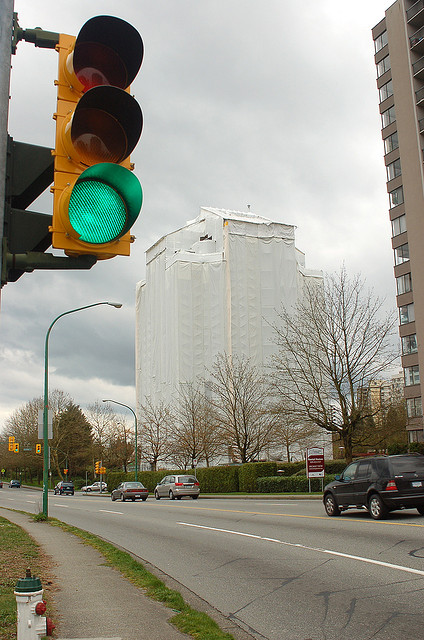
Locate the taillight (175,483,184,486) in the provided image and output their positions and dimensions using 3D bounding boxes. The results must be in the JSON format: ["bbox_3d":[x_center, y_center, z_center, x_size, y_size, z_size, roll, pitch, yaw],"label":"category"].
[{"bbox_3d":[-1.945,9.848,38.639,0.579,0.150,0.120,-8,-13,27],"label":"taillight"}]

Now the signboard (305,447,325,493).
[{"bbox_3d":[4.692,6.741,29.278,0.804,2.054,0.266,-2,4,2],"label":"signboard"}]

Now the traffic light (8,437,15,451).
[{"bbox_3d":[-18.251,11.324,59.118,0.401,1.078,1.603,2,-12,-15],"label":"traffic light"}]

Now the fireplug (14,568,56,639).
[{"bbox_3d":[-1.170,1.860,4.245,0.226,0.465,0.313,1,-12,-14],"label":"fireplug"}]

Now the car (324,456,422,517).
[{"bbox_3d":[3.918,4.152,16.158,1.223,1.397,3.243,4,-13,-27],"label":"car"}]

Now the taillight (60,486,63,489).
[{"bbox_3d":[-16.243,18.209,70.116,0.107,0.258,0.236,9,-15,-42],"label":"taillight"}]
